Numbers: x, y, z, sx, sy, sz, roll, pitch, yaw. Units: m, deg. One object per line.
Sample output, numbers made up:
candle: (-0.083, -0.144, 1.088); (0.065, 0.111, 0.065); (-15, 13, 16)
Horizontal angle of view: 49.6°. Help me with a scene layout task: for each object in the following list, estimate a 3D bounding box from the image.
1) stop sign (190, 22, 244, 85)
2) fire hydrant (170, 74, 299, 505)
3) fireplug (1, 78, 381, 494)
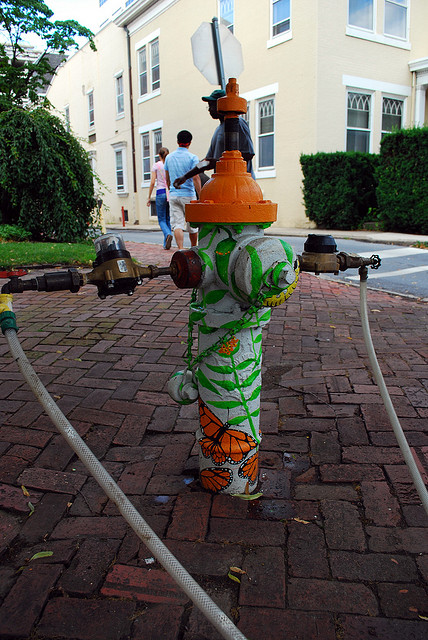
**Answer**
stop sign: (0.067, -2.641, 4.586); (0.637, 0.577, 0.149); (-31, 28, -31)
fire hydrant: (0.124, -0.119, 1.977); (0.452, 1.599, 1.082); (2, 13, 10)
fireplug: (-0.082, -0.052, 1.746); (0.703, 1.983, 0.828); (5, 12, 29)
